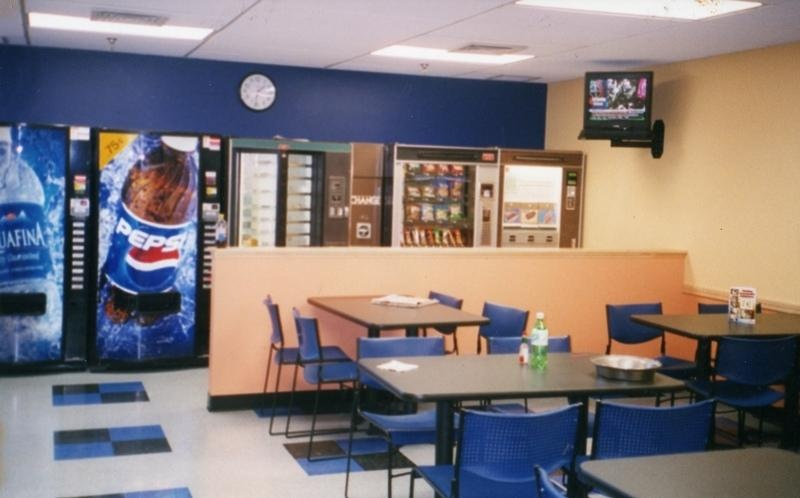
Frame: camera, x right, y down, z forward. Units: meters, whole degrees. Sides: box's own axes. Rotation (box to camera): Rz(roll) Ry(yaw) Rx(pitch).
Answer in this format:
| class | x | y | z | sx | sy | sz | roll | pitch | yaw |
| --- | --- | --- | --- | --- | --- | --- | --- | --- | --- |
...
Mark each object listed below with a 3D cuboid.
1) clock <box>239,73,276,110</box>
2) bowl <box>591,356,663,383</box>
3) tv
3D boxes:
| class | x | y | z | sx | sy | sz | roll | pitch | yaw |
| --- | --- | --- | --- | --- | --- | --- | --- | --- | --- |
| clock | -2.114 | -2.310 | 9.536 | 0.538 | 0.505 | 0.119 | -16 | 12 | -22 |
| bowl | 1.763 | 0.939 | 5.094 | 0.510 | 0.131 | 0.429 | 5 | 11 | 16 |
| tv | 2.830 | -1.916 | 8.358 | 0.817 | 0.661 | 0.106 | 1 | 6 | 13 |
